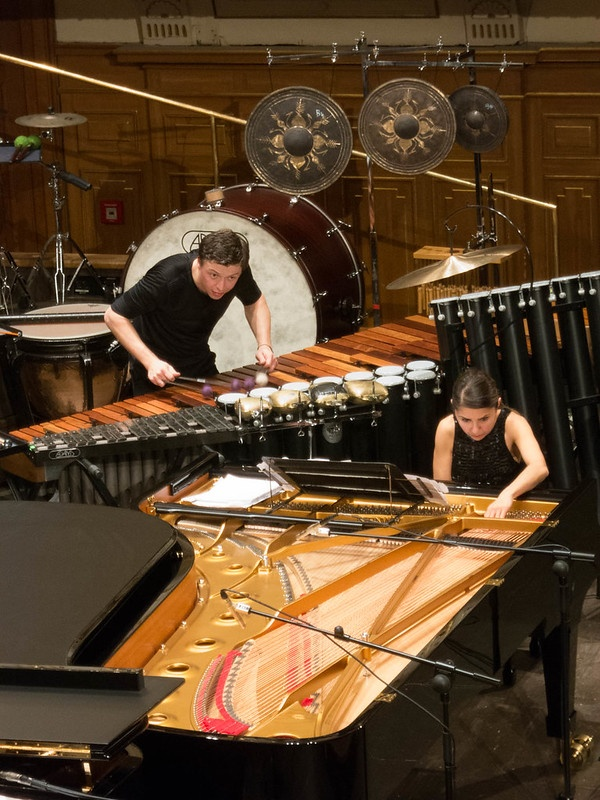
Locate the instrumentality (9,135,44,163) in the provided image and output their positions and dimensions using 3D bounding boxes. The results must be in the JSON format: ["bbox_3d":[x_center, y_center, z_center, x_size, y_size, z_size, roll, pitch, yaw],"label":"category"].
[{"bbox_3d":[-2.249,-2.063,6.344,0.227,0.185,0.122,-4,2,-18],"label":"instrumentality"}]

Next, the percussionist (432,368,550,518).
[{"bbox_3d":[0.705,0.161,2.888,0.366,0.419,0.658,-5,-29,19],"label":"percussionist"}]

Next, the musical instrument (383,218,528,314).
[{"bbox_3d":[0.758,-0.732,3.755,0.709,0.320,0.466,-7,15,-14],"label":"musical instrument"}]

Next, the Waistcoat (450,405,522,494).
[{"bbox_3d":[0.705,0.214,3.073,0.325,0.350,0.218,-1,19,1],"label":"Waistcoat"}]

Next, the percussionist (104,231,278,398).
[{"bbox_3d":[-0.493,-0.389,3.568,0.783,0.507,0.622,-4,2,-12],"label":"percussionist"}]

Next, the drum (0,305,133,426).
[{"bbox_3d":[-1.524,-0.231,5.015,0.907,0.785,0.839,-3,12,-8],"label":"drum"}]

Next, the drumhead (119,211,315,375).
[{"bbox_3d":[-0.429,-0.590,4.283,1.028,0.920,0.383,-24,10,17],"label":"drumhead"}]
